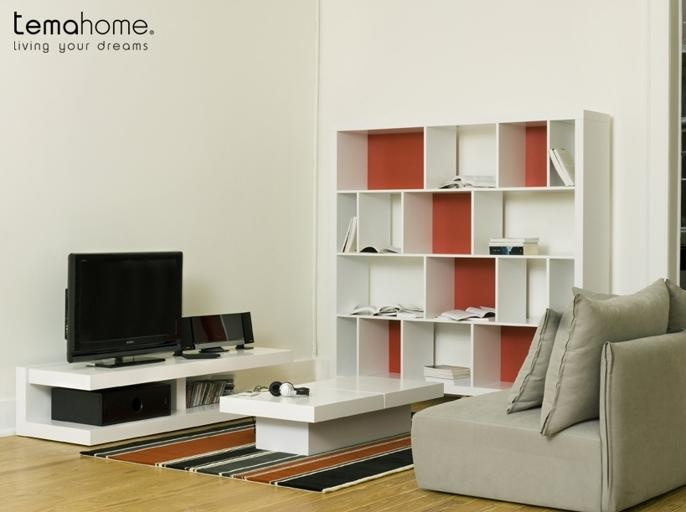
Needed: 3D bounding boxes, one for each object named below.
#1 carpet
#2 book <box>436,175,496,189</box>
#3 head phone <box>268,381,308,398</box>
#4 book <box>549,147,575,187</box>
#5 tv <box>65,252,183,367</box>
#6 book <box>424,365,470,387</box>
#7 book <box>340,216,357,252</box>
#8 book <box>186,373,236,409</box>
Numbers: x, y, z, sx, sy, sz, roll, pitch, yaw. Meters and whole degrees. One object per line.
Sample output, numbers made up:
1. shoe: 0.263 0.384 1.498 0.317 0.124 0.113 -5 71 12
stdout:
1. carpet: -0.450 1.163 3.802 1.760 0.085 0.996 -1 2 27
2. book: 1.076 -0.608 5.236 0.257 0.069 0.193 -1 2 -32
3. head phone: -0.328 0.794 3.821 0.160 0.052 0.113 4 1 2
4. book: 1.671 -0.704 4.884 0.069 0.272 0.294 -21 -26 31
5. tv: -1.514 0.358 4.330 0.270 0.689 0.836 -2 -1 41
6. book: 0.875 1.000 5.394 0.228 0.074 0.185 0 -2 45
7. book: 0.059 -0.196 5.755 0.068 0.265 0.275 8 -1 2
8. book: -0.984 0.984 4.667 0.212 0.095 0.274 -1 -1 31
